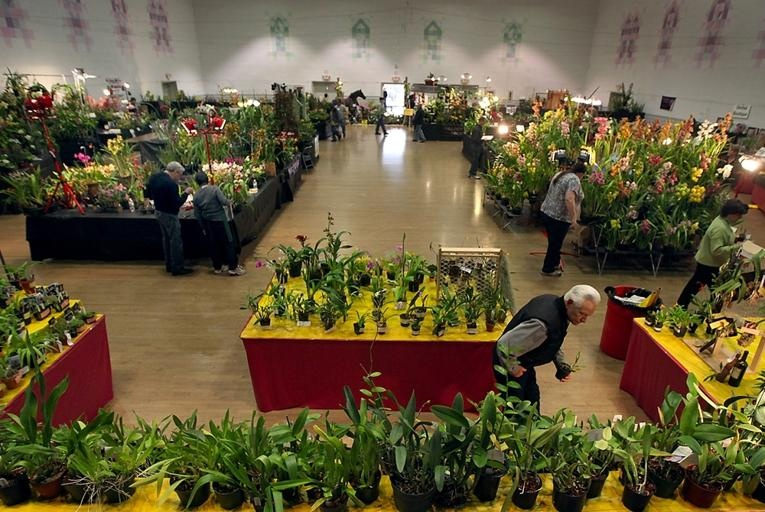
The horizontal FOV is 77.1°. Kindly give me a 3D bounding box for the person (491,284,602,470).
[{"bbox_3d":[1.387,1.224,4.817,0.836,2.206,0.725,-8,28,-18],"label":"person"}]

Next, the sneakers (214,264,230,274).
[{"bbox_3d":[-2.539,0.194,7.524,0.118,0.116,0.269,-28,-2,40],"label":"sneakers"}]

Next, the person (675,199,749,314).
[{"bbox_3d":[4.176,0.015,6.015,0.838,1.523,0.578,-14,27,-1],"label":"person"}]

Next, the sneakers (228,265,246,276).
[{"bbox_3d":[-2.280,0.235,7.515,0.251,0.126,0.146,-6,50,-11],"label":"sneakers"}]

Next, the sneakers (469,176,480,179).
[{"bbox_3d":[2.320,-2.013,12.191,0.220,0.090,0.104,-3,46,-3],"label":"sneakers"}]
